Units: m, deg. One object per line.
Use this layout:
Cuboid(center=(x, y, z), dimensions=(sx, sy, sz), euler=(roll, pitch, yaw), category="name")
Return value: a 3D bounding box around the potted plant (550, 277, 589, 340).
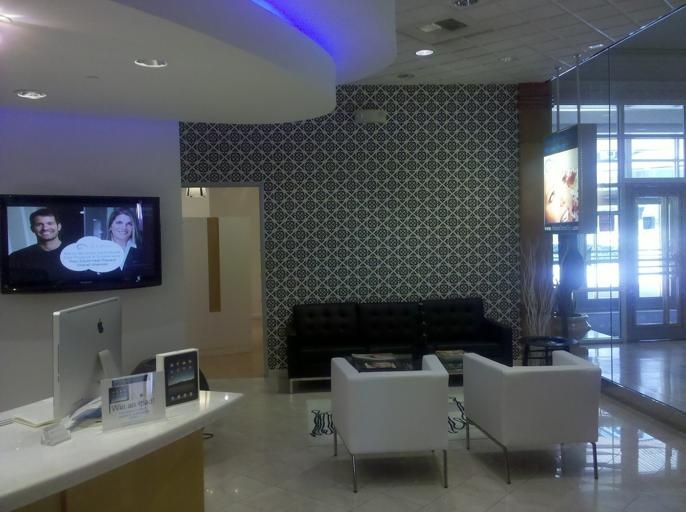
Cuboid(center=(3.050, 0.731, 7.702), dimensions=(0.417, 0.783, 0.619), euler=(-3, 6, -10), category="potted plant")
